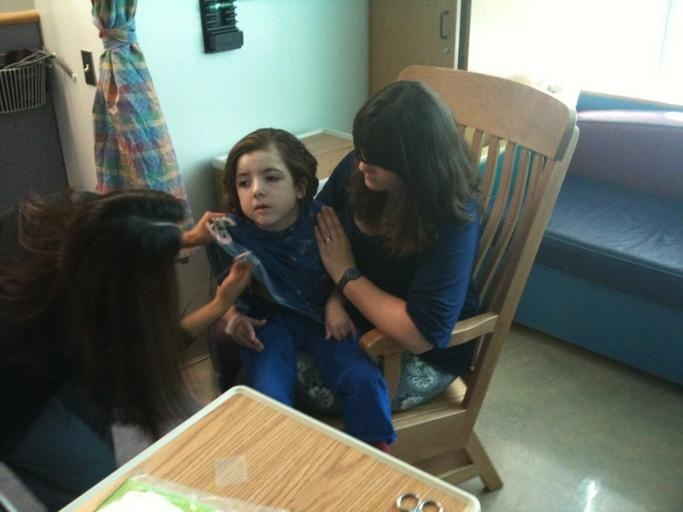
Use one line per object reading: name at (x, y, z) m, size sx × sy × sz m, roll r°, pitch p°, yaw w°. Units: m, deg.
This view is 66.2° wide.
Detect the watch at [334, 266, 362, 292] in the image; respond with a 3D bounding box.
watch at (0.015, 0.043, 1.027) m, size 0.035 × 0.049 × 0.054 m, roll 50°, pitch 21°, yaw 12°
